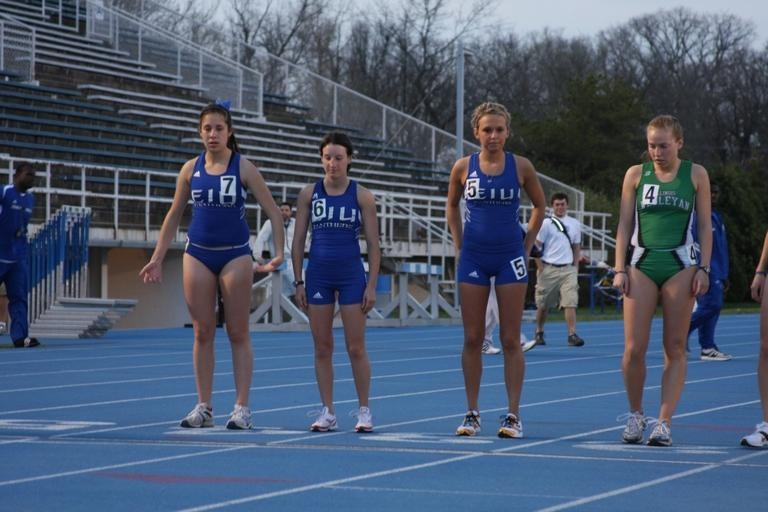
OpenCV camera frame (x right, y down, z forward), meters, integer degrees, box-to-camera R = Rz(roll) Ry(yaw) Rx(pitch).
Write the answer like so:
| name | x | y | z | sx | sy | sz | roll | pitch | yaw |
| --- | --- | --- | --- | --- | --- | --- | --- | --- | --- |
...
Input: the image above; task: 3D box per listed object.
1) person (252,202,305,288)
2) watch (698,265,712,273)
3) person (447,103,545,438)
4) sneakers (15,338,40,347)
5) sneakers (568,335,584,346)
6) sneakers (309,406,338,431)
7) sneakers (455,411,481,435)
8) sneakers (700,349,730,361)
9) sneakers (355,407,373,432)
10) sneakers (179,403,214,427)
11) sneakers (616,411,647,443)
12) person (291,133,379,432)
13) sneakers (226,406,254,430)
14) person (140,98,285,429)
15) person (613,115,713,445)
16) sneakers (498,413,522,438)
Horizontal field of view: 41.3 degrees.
| name | x | y | z | sx | sy | sz | roll | pitch | yaw |
| --- | --- | --- | --- | --- | --- | --- | --- | --- | --- |
| person | -1.989 | -0.116 | 18.071 | 1.013 | 1.564 | 0.976 | -2 | 7 | 17 |
| watch | 2.778 | 0.106 | 8.811 | 0.073 | 0.053 | 0.082 | -12 | -35 | 45 |
| person | 0.982 | 0.108 | 9.257 | 0.912 | 2.973 | 0.723 | -2 | 0 | 15 |
| sneakers | -5.208 | 1.275 | 14.854 | 0.344 | 0.148 | 0.142 | -10 | -6 | 22 |
| sneakers | 3.018 | 1.355 | 16.231 | 0.126 | 0.146 | 0.311 | -5 | -5 | -25 |
| sneakers | -0.544 | 1.478 | 9.243 | 0.246 | 0.203 | 0.278 | 0 | 1 | -4 |
| sneakers | 0.747 | 1.490 | 9.064 | 0.208 | 0.202 | 0.197 | 0 | 1 | 4 |
| sneakers | 4.744 | 1.420 | 14.594 | 0.481 | 0.227 | 0.165 | 0 | -3 | 8 |
| sneakers | -0.177 | 1.467 | 9.213 | 0.163 | 0.223 | 0.208 | 0 | 1 | 0 |
| sneakers | -1.687 | 1.459 | 9.265 | 0.335 | 0.198 | 0.154 | 2 | -3 | -8 |
| sneakers | 2.177 | 1.482 | 8.857 | 0.210 | 0.265 | 0.259 | 0 | 1 | 12 |
| person | -0.440 | 0.217 | 9.359 | 0.795 | 2.723 | 0.617 | 0 | 1 | -6 |
| sneakers | -1.307 | 1.484 | 9.232 | 0.128 | 0.147 | 0.327 | -3 | -12 | 10 |
| person | -1.541 | 0.061 | 9.372 | 1.171 | 2.990 | 0.459 | 0 | 1 | 12 |
| person | 2.431 | 0.190 | 8.863 | 0.793 | 2.830 | 0.479 | 0 | 1 | 17 |
| sneakers | 1.124 | 1.494 | 9.024 | 0.230 | 0.202 | 0.238 | 0 | 1 | 4 |
